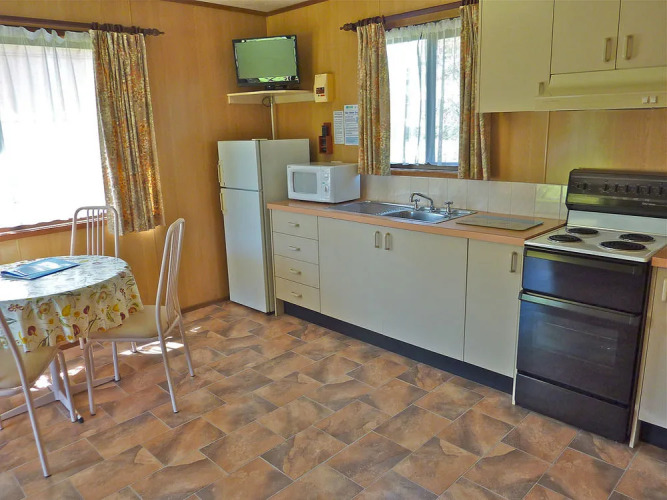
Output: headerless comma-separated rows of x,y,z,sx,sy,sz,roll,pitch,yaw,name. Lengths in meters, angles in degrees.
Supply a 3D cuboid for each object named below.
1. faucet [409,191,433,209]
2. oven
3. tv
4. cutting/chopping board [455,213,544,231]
0.735,-0.408,3.791,0.193,0.152,0.390,1,16,10,faucet
1.666,0.517,2.918,0.619,1.129,0.715,-12,15,-30,oven
-0.634,-1.801,4.466,0.685,0.461,0.181,1,19,14,tv
1.170,-0.201,3.280,0.548,0.020,0.422,11,20,38,cutting/chopping board
